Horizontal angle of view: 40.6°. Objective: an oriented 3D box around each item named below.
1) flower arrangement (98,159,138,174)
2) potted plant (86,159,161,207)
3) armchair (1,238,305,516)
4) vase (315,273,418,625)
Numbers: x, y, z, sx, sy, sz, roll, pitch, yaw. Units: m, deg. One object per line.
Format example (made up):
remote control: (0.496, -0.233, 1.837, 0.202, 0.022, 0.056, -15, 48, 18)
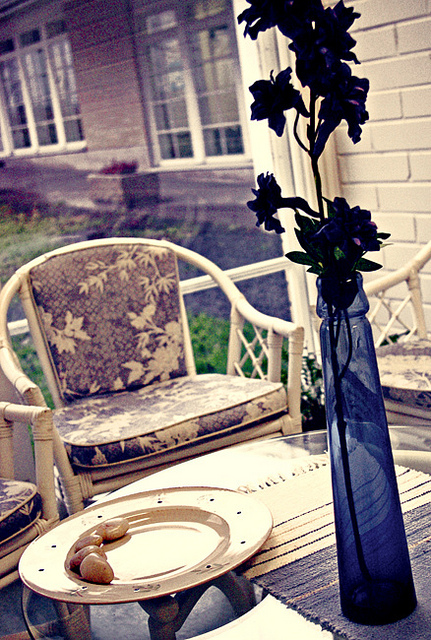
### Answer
flower arrangement: (-0.402, -0.635, 2.427, 0.083, 0.033, 0.110, -18, 26, -31)
potted plant: (-0.388, -0.574, 2.456, 0.232, 0.134, 0.231, -18, 28, -34)
armchair: (-0.255, 0.110, 2.053, 1.098, 1.012, 0.784, -11, 9, -23)
vase: (0.143, 0.125, 0.590, 0.087, 0.345, 0.087, -18, 13, -42)
